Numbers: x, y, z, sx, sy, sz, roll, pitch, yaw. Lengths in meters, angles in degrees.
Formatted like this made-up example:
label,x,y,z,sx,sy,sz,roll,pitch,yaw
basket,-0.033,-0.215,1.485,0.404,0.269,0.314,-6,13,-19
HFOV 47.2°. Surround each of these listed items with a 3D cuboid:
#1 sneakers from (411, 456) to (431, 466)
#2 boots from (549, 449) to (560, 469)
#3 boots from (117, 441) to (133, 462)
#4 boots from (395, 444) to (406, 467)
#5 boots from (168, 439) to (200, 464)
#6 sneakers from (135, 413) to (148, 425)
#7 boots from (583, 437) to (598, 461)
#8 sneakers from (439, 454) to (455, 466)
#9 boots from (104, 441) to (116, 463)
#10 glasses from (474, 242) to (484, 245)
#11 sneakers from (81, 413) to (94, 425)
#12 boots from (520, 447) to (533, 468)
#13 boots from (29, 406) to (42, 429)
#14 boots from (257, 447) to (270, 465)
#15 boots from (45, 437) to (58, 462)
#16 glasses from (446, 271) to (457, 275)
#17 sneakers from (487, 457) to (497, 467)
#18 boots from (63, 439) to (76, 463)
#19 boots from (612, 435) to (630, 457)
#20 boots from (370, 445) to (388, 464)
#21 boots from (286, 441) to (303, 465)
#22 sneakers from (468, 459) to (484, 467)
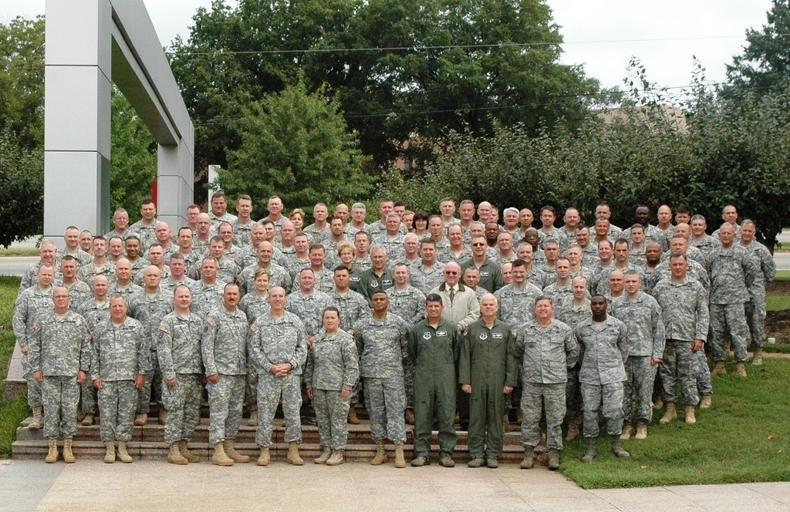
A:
label,x,y,z,sx,sy,sz,roll,pitch,yaw
sneakers,0.484,3.892,17.124,0.159,0.134,0.341,-5,-14,31
boots,3.002,3.848,17.132,0.211,0.366,0.289,-3,-6,9
boots,-5.071,3.671,16.900,0.239,0.378,0.331,1,-6,-29
boots,0.097,3.778,17.170,0.228,0.435,0.475,-3,-6,9
boots,-3.986,3.679,16.961,0.483,0.435,0.371,3,-8,-44
sneakers,-4.950,3.159,17.529,0.207,0.225,0.351,-1,-5,-6
boots,3.702,3.684,17.246,0.264,0.427,0.628,-3,-6,12
sneakers,0.969,3.895,17.134,0.282,0.217,0.258,-2,-5,5
boots,-5.349,3.667,16.871,0.206,0.373,0.302,0,-6,-17
glasses,1.689,-0.251,18.336,0.204,0.076,0.046,-2,-6,-1
sneakers,-5.964,3.159,17.436,0.264,0.199,0.246,-1,-5,-8
boots,2.517,3.840,17.233,0.252,0.398,0.311,-3,-6,13
boots,-6.914,3.096,17.229,0.295,0.406,0.185,-5,-6,27
boots,-2.493,3.767,16.969,0.272,0.316,0.407,-1,-5,-7
boots,-6.426,3.625,16.859,0.230,0.425,0.297,0,-6,-20
glasses,1.104,0.316,17.637,0.181,0.079,0.050,-1,-6,-6
sneakers,1.824,3.927,17.103,0.220,0.180,0.182,-2,-5,2
boots,-6.094,3.628,16.835,0.218,0.431,0.306,0,-6,-19
boots,4.257,3.608,17.113,0.283,0.404,0.414,-1,-6,-7
boots,-0.339,3.776,17.222,0.283,0.387,0.371,-3,-6,6
boots,-1.885,3.718,17.004,0.226,0.424,0.317,2,-7,-33
sneakers,1.506,3.921,17.068,0.130,0.132,0.332,-4,-18,16
